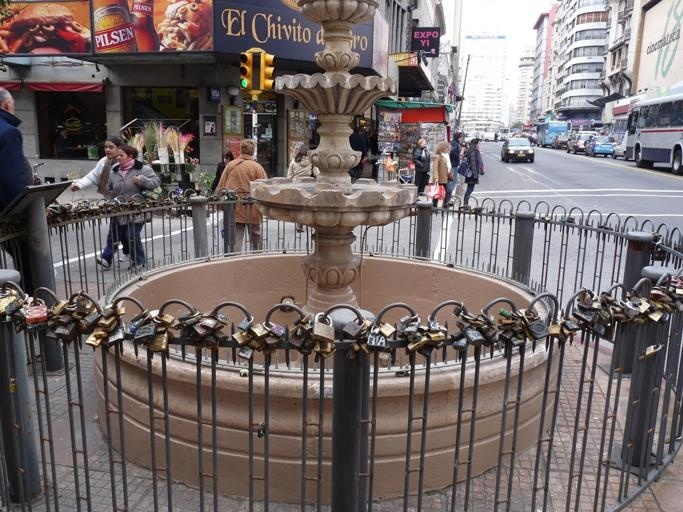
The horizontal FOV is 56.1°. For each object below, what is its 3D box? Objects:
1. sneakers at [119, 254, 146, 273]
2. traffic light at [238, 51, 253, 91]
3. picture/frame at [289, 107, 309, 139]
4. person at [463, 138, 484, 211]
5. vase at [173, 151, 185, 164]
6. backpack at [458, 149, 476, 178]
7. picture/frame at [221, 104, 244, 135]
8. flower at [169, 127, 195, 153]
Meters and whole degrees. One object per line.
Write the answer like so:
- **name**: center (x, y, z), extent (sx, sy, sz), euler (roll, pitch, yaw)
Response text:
- **sneakers**: center (-3.224, 0.114, 9.899), extent (0.204, 0.301, 0.660), euler (-1, -5, 5)
- **traffic light**: center (-2.051, -4.032, 13.876), extent (0.262, 0.836, 0.421), euler (-9, 14, -30)
- **picture/frame**: center (-1.525, -4.647, 22.706), extent (0.081, 1.199, 1.728), euler (-3, 9, -32)
- **person**: center (3.949, -2.468, 18.955), extent (0.592, 2.028, 0.717), euler (4, 8, -11)
- **vase**: center (-4.410, -2.689, 17.367), extent (0.275, 0.332, 0.309), euler (-5, 13, -14)
- **backpack**: center (3.777, -2.797, 19.141), extent (0.378, 0.961, 0.908), euler (4, 11, 2)
- **picture/frame**: center (-3.471, -4.358, 20.179), extent (0.080, 0.925, 0.844), euler (2, 10, 28)
- **flower**: center (-4.442, -3.253, 17.899), extent (0.500, 0.634, 1.571), euler (-2, 13, -1)
